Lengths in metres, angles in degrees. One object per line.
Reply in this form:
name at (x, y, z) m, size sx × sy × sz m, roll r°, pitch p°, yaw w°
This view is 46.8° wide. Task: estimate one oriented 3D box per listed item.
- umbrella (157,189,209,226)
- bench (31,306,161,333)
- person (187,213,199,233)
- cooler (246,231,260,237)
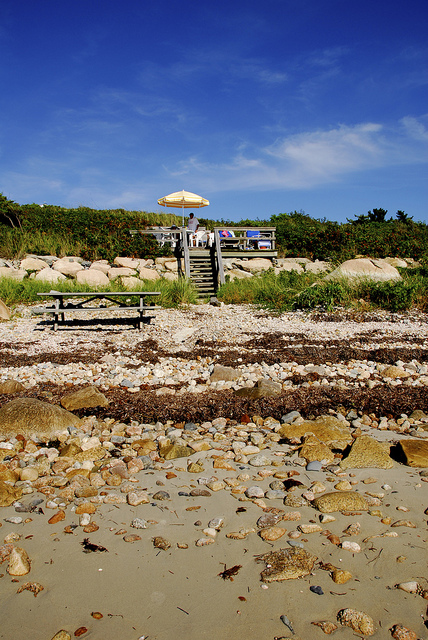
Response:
umbrella at (-1.175, -4.630, 20.613) m, size 1.933 × 1.386 × 3.013 m, roll -2°, pitch 7°, yaw -14°
bench at (-2.213, -0.130, 9.790) m, size 2.123 × 0.427 × 2.238 m, roll -1°, pitch 7°, yaw -7°
person at (-0.902, -3.931, 20.243) m, size 0.442 × 0.714 × 1.439 m, roll -1°, pitch 7°, yaw -2°
cooler at (1.653, -3.699, 21.178) m, size 0.563 × 0.252 × 1.740 m, roll 1°, pitch 7°, yaw 6°
